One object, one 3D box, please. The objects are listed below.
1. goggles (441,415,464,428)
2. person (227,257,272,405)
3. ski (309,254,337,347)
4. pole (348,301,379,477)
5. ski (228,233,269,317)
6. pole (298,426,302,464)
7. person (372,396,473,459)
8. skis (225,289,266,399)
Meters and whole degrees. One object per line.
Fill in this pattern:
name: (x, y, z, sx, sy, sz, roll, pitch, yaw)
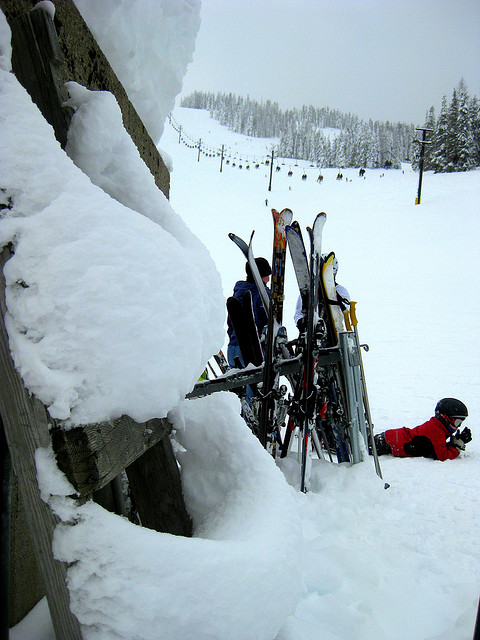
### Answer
goggles: (1.712, 0.802, 3.895, 0.088, 0.125, 0.067, -33, 0, 36)
person: (0.097, -0.110, 4.129, 0.198, 1.801, 0.298, 1, -1, 38)
ski: (0.589, -0.118, 3.467, 0.078, 0.719, 0.070, -12, -5, 27)
pole: (0.832, 0.447, 3.282, 0.159, 1.522, 0.067, -18, 38, -4)
ski: (0.058, -0.426, 4.057, 0.064, 0.656, 0.085, -15, -5, -38)
pole: (0.370, 0.767, 3.005, 0.020, 0.216, 0.022, 1, -18, -7)
person: (1.457, 0.864, 3.909, 0.707, 0.493, 0.378, 3, -2, 27)
skis: (0.089, 0.099, 3.758, 0.191, 0.959, 0.161, -14, -1, 32)
